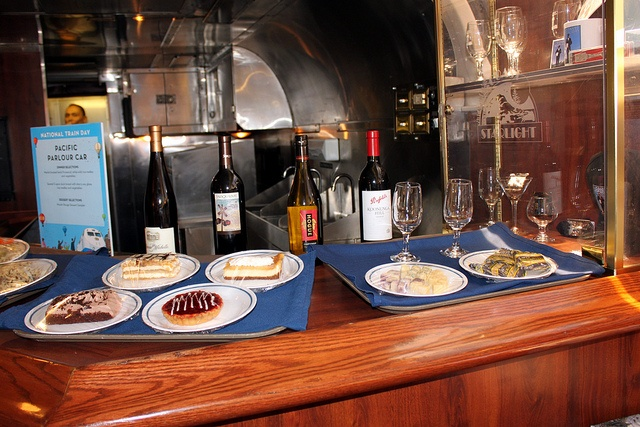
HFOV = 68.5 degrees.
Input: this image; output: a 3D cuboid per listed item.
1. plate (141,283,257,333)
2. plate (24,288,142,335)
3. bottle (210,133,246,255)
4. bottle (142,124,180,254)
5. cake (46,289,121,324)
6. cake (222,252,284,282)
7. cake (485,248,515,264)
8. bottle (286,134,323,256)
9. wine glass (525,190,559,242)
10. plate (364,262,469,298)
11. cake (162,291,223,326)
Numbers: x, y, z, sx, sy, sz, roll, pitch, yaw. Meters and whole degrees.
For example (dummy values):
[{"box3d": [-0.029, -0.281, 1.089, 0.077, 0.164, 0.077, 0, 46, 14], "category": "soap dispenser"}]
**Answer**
[{"box3d": [-0.260, 0.173, 0.957, 0.149, 0.018, 0.152, -11, 16, -10], "category": "plate"}, {"box3d": [-0.467, 0.192, 0.942, 0.212, 0.060, 0.143, -7, 7, -24], "category": "plate"}, {"box3d": [-0.259, -0.054, 1.324, 0.096, 0.348, 0.237, -6, 6, -12], "category": "bottle"}, {"box3d": [-0.436, -0.063, 1.267, 0.089, 0.356, 0.274, -6, 6, -17], "category": "bottle"}, {"box3d": [-0.466, 0.185, 0.937, 0.092, 0.027, 0.071, -1, 12, -7], "category": "cake"}, {"box3d": [-0.152, 0.121, 1.051, 0.086, 0.029, 0.069, 1, 7, 3], "category": "cake"}, {"box3d": [0.389, 0.091, 1.029, 0.039, 0.013, 0.030, -2, 12, 0], "category": "cake"}, {"box3d": [-0.048, -0.051, 1.271, 0.090, 0.319, 0.105, -5, 6, -4], "category": "bottle"}, {"box3d": [0.574, 0.008, 1.241, 0.075, 0.116, 0.076, -6, 6, -34], "category": "wine glass"}, {"box3d": [0.190, 0.138, 0.974, 0.102, 0.015, 0.103, -2, 17, -9], "category": "plate"}, {"box3d": [-0.247, 0.182, 0.924, 0.069, 0.021, 0.070, -9, 18, -23], "category": "cake"}]
